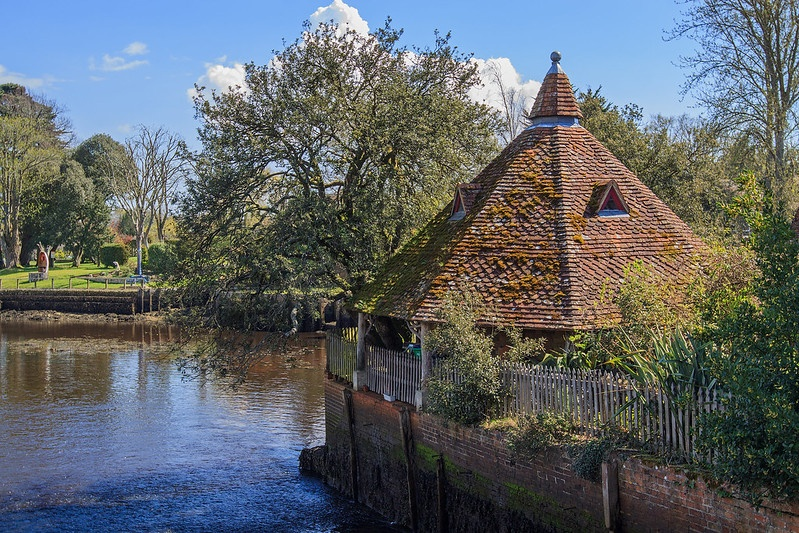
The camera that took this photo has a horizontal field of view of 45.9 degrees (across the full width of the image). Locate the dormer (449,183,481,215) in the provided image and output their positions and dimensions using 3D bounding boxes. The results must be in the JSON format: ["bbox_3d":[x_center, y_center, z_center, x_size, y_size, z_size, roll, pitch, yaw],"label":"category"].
[{"bbox_3d":[2.361,-2.362,33.344,1.111,0.643,1.084,-2,-7,-13],"label":"dormer"}]

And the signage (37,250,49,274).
[{"bbox_3d":[-31.461,-0.353,83.720,0.424,2.863,2.201,-7,7,-38],"label":"signage"}]
